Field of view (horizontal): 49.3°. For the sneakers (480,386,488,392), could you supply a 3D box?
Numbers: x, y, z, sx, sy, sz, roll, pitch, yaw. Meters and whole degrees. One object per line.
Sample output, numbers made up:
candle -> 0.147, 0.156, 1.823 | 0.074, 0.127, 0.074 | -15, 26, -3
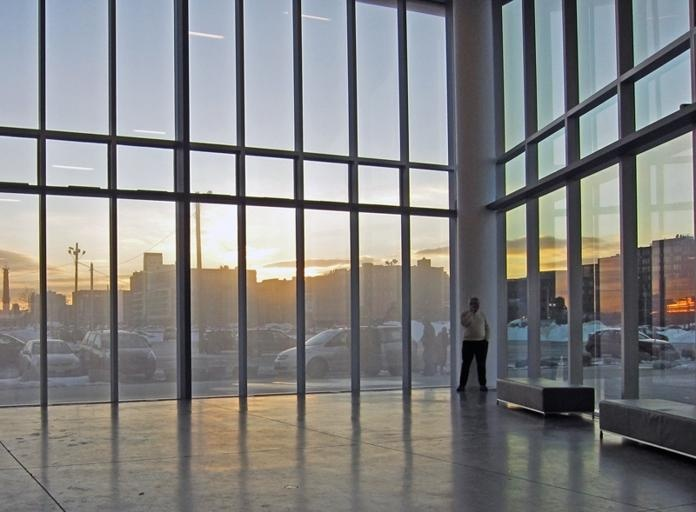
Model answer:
sneakers -> 3.202, 3.087, 17.716 | 0.128, 0.119, 0.129 | 9, -13, -44

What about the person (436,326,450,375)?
person -> 2.392, 2.340, 18.998 | 0.331, 1.147, 0.145 | 0, 1, -6

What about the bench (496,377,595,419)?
bench -> 3.682, 2.578, 14.211 | 0.869, 0.490, 1.880 | 0, 0, -23

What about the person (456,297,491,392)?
person -> 2.955, 2.049, 17.738 | 0.727, 2.167, 0.605 | 0, 1, 8
